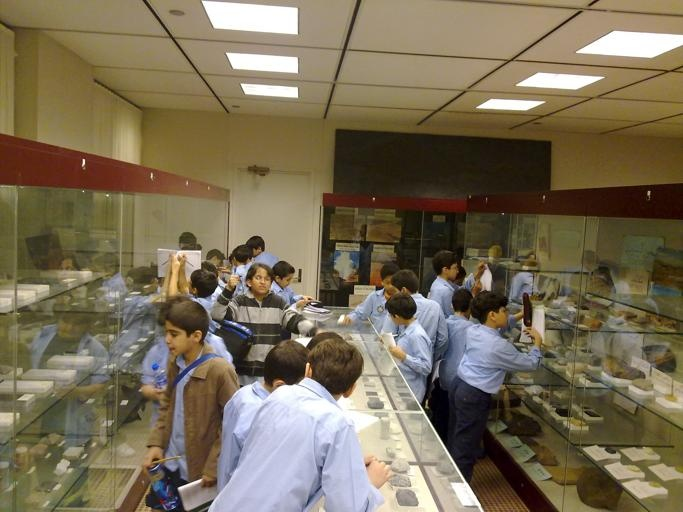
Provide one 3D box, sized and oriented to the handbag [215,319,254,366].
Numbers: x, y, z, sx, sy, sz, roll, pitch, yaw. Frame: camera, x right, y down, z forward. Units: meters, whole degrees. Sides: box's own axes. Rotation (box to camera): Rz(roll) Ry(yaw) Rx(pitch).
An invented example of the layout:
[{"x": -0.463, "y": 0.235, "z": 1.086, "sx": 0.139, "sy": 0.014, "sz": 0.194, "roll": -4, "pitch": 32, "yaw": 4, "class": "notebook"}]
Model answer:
[{"x": -0.760, "y": 0.635, "z": 3.507, "sx": 0.249, "sy": 0.247, "sz": 0.133, "roll": 23, "pitch": 8, "yaw": -3, "class": "handbag"}]
